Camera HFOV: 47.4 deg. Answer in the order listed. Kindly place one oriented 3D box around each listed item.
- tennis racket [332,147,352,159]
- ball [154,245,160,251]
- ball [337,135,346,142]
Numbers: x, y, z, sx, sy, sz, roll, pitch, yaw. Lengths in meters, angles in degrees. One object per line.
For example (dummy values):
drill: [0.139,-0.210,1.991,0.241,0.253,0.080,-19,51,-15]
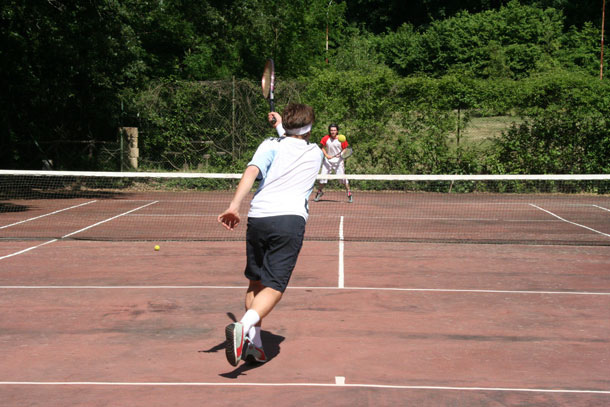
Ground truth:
tennis racket: [1.085,-1.443,19.935,0.477,0.307,0.611,1,11,8]
ball: [-2.860,0.856,13.426,0.104,0.085,0.095,-1,9,0]
ball: [1.054,-1.830,19.638,0.255,0.137,0.268,3,4,0]
